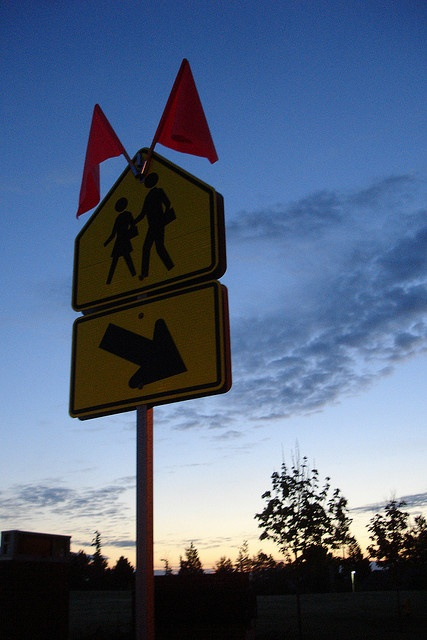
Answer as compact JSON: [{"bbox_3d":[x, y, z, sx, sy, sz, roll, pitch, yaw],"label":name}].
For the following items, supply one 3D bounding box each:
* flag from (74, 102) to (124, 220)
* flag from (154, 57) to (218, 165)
[{"bbox_3d":[-0.893,-1.366,5.697,0.503,0.119,1.072,-30,-24,-20],"label":"flag"},{"bbox_3d":[-0.230,-1.547,5.337,0.429,0.741,0.374,-7,-19,8],"label":"flag"}]
